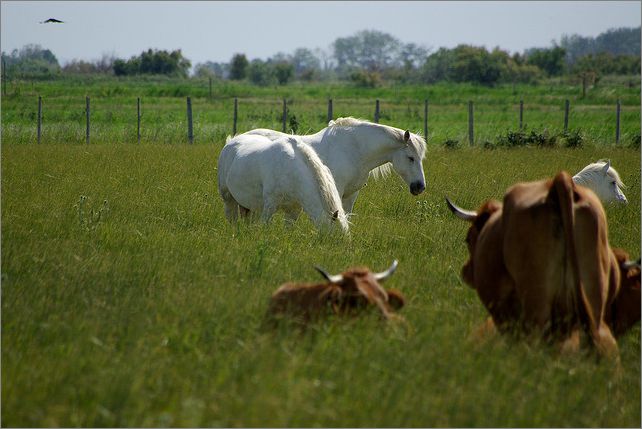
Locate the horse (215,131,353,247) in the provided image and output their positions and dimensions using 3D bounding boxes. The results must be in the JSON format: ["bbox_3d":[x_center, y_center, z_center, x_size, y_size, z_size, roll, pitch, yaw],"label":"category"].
[{"bbox_3d":[-0.778,-0.333,16.315,3.402,2.323,1.091,11,22,43],"label":"horse"}]

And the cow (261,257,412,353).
[{"bbox_3d":[-0.025,1.342,13.192,1.016,1.624,2.529,1,5,-43],"label":"cow"}]
